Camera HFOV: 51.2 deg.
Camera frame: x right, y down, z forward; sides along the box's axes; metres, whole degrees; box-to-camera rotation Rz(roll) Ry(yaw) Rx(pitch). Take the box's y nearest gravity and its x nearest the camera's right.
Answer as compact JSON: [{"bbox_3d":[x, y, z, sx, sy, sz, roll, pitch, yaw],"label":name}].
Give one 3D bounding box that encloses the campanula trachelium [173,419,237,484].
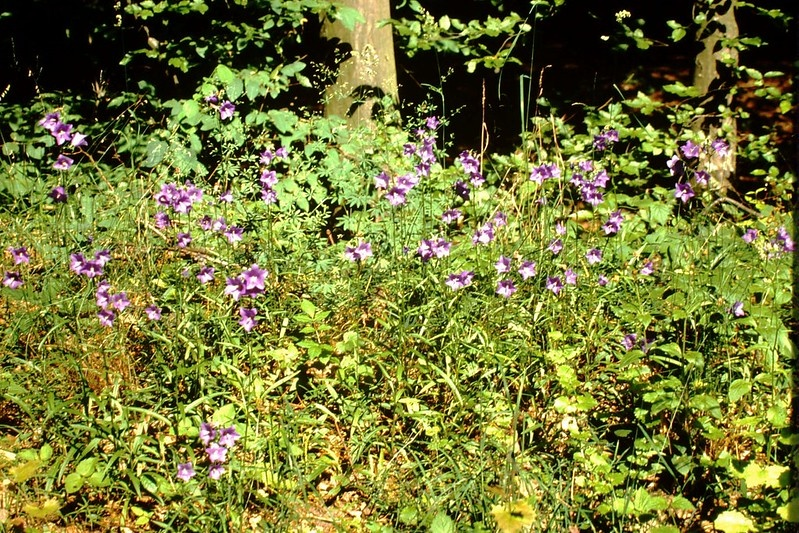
[{"bbox_3d":[-1.253,1.179,5.490,0.395,0.418,0.160,-31,13,-1],"label":"campanula trachelium"}]
